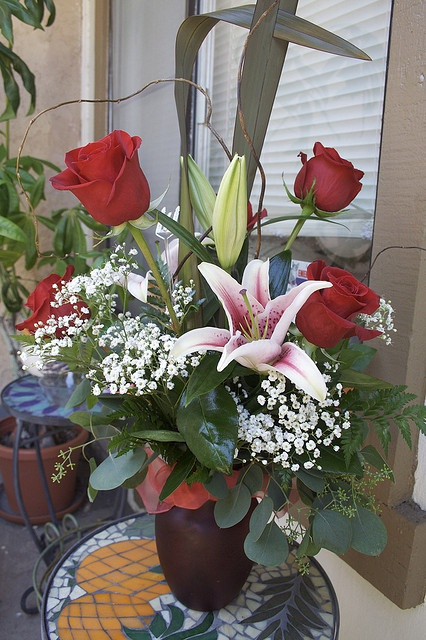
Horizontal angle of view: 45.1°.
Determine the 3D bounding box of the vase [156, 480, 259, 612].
[{"bbox_3d":[-0.011,0.264,0.618,0.119,0.130,0.117,-1,5,2],"label":"vase"}]
